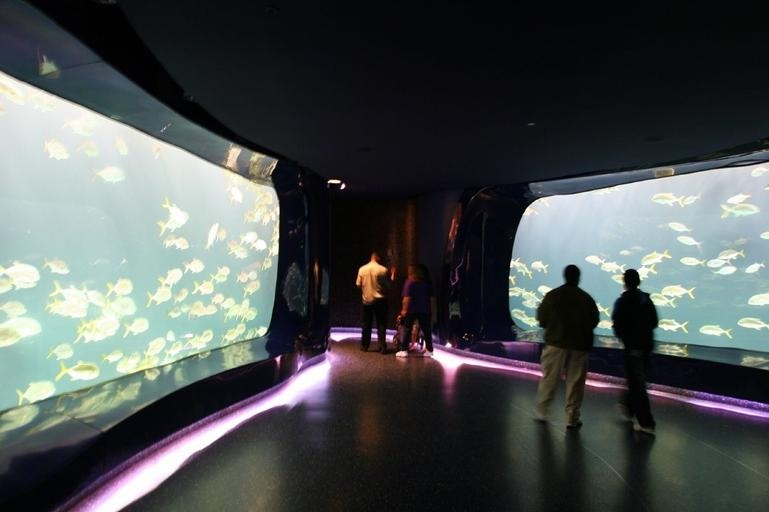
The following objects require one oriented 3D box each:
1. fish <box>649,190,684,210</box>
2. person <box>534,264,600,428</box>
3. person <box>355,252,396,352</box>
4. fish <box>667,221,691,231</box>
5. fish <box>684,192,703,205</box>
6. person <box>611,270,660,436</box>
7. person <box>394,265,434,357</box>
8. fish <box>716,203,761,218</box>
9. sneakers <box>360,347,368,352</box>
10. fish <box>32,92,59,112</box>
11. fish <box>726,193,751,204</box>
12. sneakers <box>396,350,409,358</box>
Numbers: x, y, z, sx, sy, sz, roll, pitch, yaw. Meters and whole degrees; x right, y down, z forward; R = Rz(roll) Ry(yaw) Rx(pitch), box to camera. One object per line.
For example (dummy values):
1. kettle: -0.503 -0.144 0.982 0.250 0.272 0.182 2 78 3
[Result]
1. fish: 5.095 -1.005 8.456 0.433 0.263 1.050 6 9 31
2. person: 2.041 1.003 5.347 0.638 1.763 0.546 4 9 19
3. person: -0.199 0.896 8.781 0.562 1.813 0.806 -2 9 -16
4. fish: 5.583 -0.541 8.969 0.353 0.198 0.671 6 9 31
5. fish: 5.525 -1.017 8.555 0.430 0.180 0.104 -13 -6 32
6. person: 2.797 1.033 5.227 0.518 1.714 0.347 9 11 42
7. person: 0.539 0.983 8.412 0.701 1.587 0.548 -1 9 -11
8. fish: 5.843 -0.731 7.727 0.485 0.239 0.686 5 9 28
9. sneakers: -0.379 1.745 8.799 0.141 0.098 0.048 6 0 40
10. fish: -3.074 -1.367 4.244 0.038 0.136 0.183 3 8 16
11. fish: 6.018 -0.964 8.010 0.373 0.193 0.127 1 8 -2
12. sneakers: 0.304 1.729 8.312 0.171 0.076 0.102 -2 -9 31
